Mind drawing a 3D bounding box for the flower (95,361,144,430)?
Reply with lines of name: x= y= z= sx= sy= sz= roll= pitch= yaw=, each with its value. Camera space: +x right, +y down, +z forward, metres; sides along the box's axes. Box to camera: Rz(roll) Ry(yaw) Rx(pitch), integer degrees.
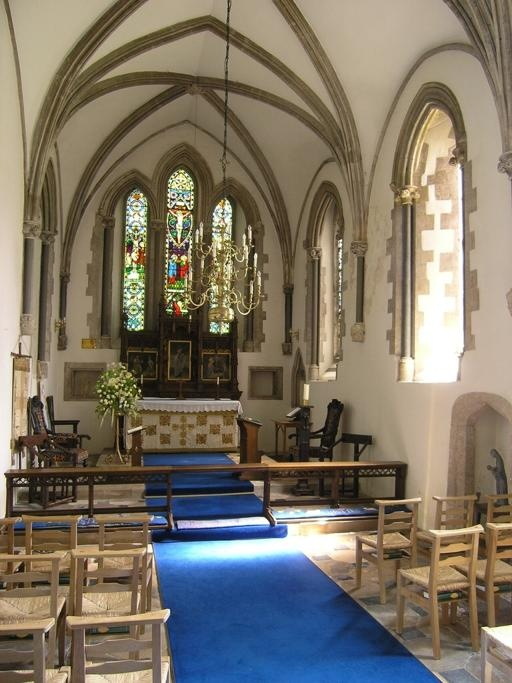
flower: x=-2.104 y=0.913 z=9.528 sx=0.653 sy=0.885 sz=0.609 roll=3 pitch=11 yaw=1
